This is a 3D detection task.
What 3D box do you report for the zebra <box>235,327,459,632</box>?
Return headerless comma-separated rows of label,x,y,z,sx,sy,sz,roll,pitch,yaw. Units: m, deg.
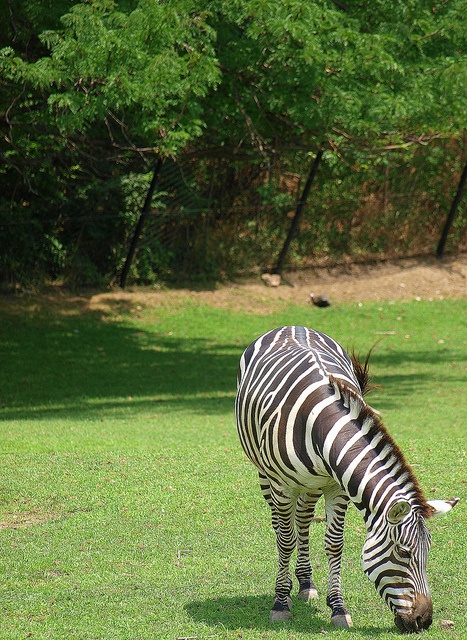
zebra,0.861,1.403,12.071,1.144,2.051,2.574,-4,15,-21
